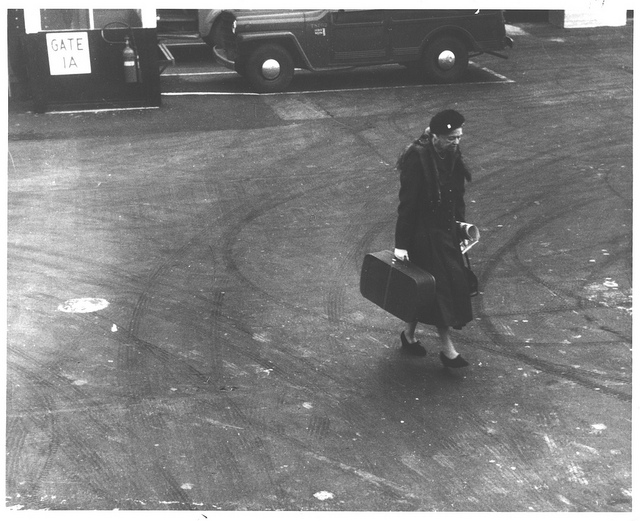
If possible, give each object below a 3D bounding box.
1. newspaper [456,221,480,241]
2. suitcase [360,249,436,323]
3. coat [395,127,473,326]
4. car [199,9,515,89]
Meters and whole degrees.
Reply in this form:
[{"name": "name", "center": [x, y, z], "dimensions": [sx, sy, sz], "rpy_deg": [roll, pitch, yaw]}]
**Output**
[{"name": "newspaper", "center": [1.301, -0.260, 7.141], "dimensions": [0.138, 0.146, 0.218], "rpy_deg": [11, 9, -37]}, {"name": "suitcase", "center": [0.673, 0.219, 7.096], "dimensions": [0.240, 0.488, 0.643], "rpy_deg": [-12, 30, -39]}, {"name": "coat", "center": [0.967, -0.310, 7.062], "dimensions": [0.712, 1.838, 0.803], "rpy_deg": [13, 24, 42]}, {"name": "car", "center": [0.564, -4.464, 16.185], "dimensions": [3.991, 1.922, 2.347], "rpy_deg": [-3, 20, -8]}]
